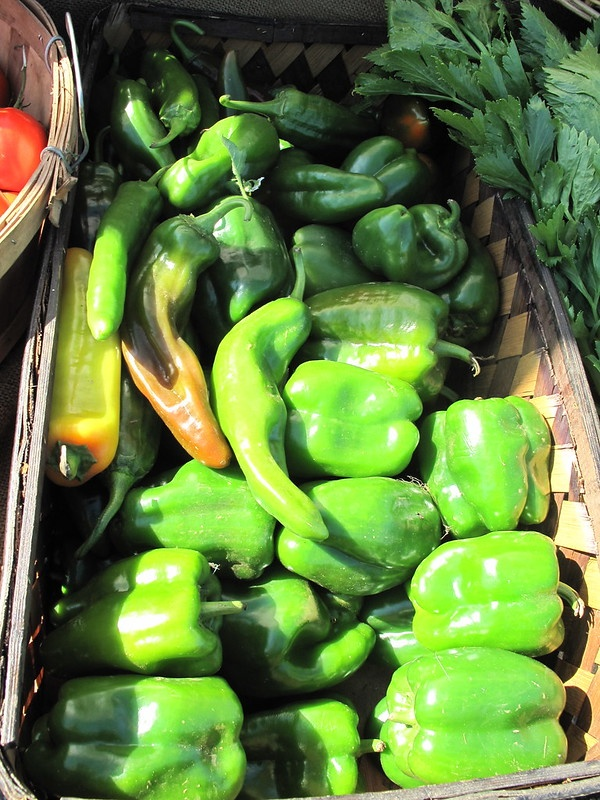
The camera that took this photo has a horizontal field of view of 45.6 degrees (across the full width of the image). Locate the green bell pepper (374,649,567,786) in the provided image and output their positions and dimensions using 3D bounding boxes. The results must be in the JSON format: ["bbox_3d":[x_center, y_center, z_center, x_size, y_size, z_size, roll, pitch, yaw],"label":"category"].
[{"bbox_3d":[0.282,0.566,1.197,0.308,0.270,0.152,6,16,20],"label":"green bell pepper"}]
